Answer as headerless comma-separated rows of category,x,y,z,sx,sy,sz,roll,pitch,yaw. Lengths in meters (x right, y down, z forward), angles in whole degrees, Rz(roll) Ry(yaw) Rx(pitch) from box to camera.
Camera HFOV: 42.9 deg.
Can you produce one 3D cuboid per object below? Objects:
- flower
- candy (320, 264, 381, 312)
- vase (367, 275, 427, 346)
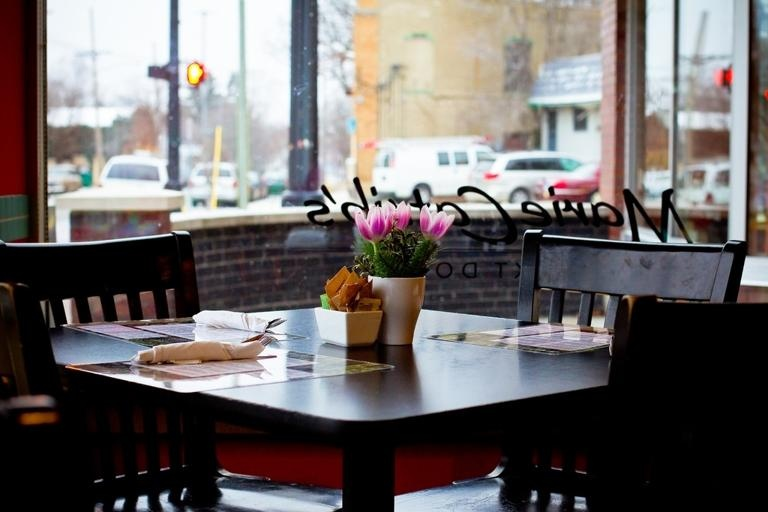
flower,0.049,-0.044,2.466,0.202,0.242,0.194,-4,17,-2
candy,-0.084,0.081,2.419,0.140,0.097,0.118,-3,10,-17
vase,0.034,0.131,2.466,0.195,0.180,0.205,-1,9,-12
